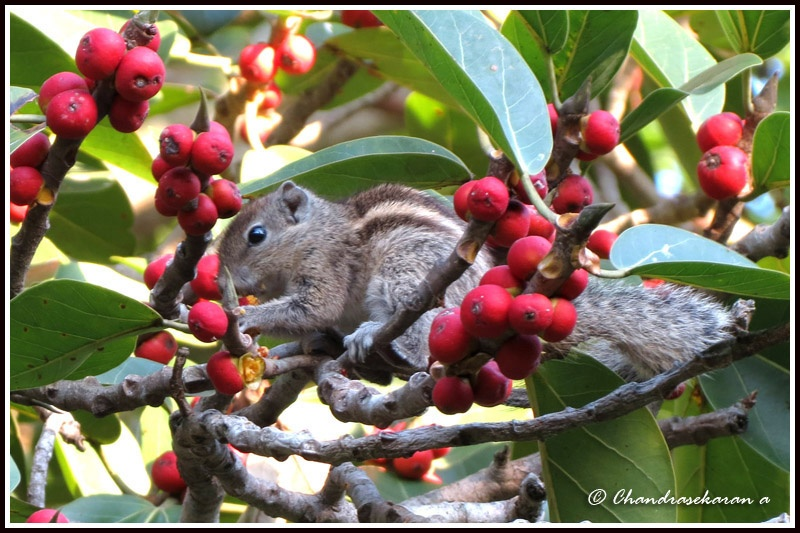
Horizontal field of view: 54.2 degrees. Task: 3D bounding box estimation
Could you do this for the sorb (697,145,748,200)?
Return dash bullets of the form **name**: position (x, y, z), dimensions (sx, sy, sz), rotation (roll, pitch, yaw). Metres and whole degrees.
- **sorb**: position (1.398, -0.374, 3.409), dimensions (0.229, 0.225, 0.186), rotation (-3, -20, 12)
